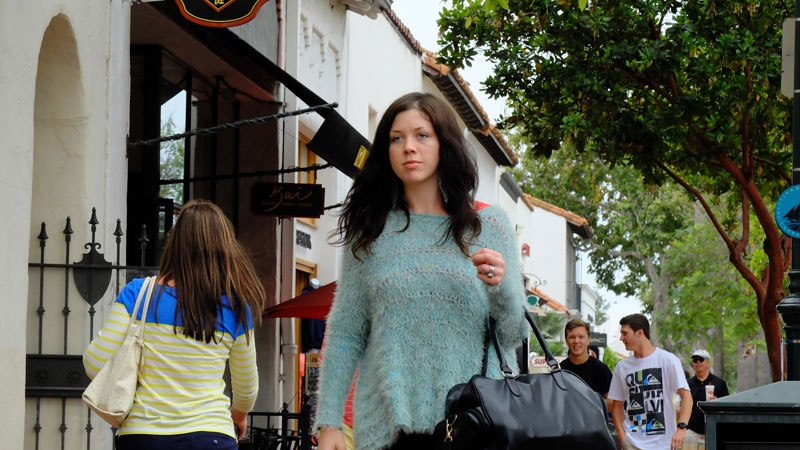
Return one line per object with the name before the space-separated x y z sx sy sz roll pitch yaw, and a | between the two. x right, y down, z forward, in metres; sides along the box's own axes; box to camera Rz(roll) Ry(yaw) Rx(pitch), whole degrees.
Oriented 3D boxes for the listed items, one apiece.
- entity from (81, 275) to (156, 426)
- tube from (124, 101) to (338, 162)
entity | -3.310 1.544 15.582 0.902 1.748 0.331 -14 -20 31
tube | -3.112 -1.658 23.222 4.771 0.384 0.268 -15 -24 -19
